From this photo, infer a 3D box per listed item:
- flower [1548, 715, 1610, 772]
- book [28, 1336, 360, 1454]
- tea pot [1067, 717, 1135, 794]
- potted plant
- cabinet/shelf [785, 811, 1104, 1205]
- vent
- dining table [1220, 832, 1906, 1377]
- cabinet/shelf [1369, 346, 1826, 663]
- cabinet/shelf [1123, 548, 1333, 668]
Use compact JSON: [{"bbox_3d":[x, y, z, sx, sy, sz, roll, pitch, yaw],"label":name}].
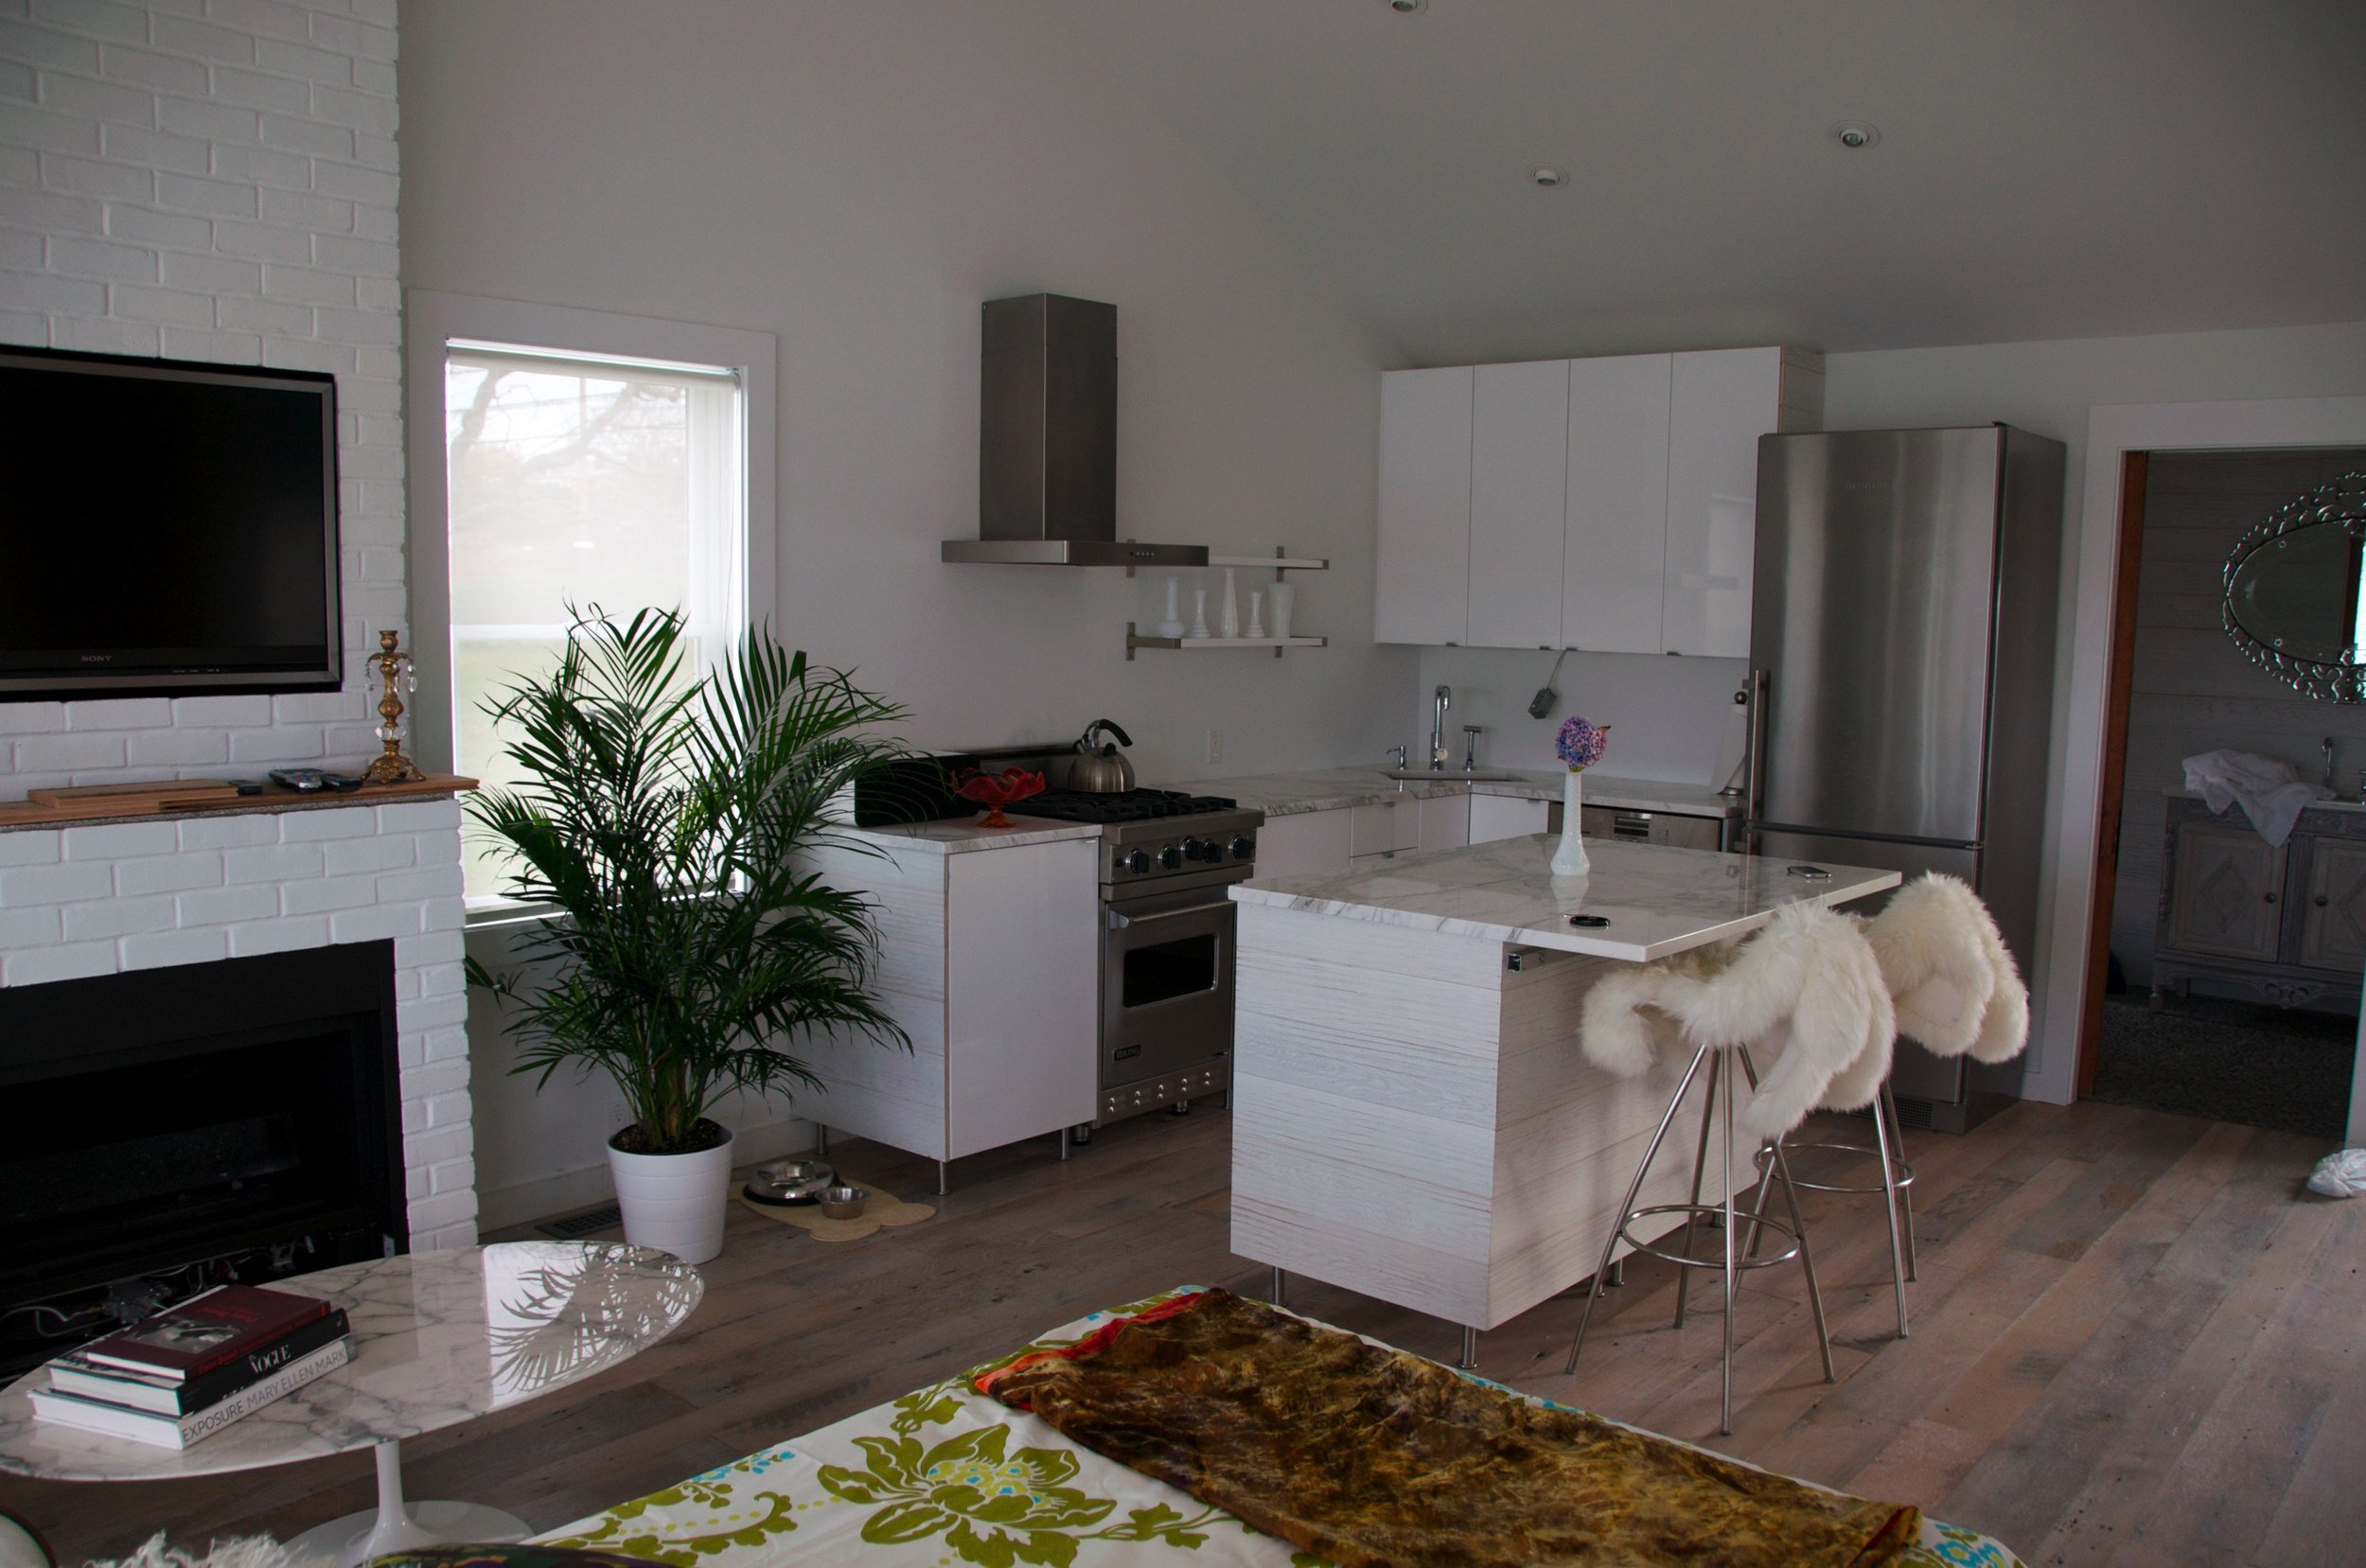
[{"bbox_3d":[1.506,-0.164,5.777,0.226,0.255,0.139,4,-24,36],"label":"flower"},{"bbox_3d":[-1.959,1.202,3.007,0.263,0.053,0.267,1,3,27],"label":"book"},{"bbox_3d":[-0.329,-0.103,6.340,0.223,0.283,0.340,0,0,35],"label":"tea pot"},{"bbox_3d":[-1.653,0.447,5.128,1.112,2.032,1.154,7,13,26],"label":"potted plant"},{"bbox_3d":[-0.738,0.716,5.962,1.159,1.700,1.289,5,6,44],"label":"cabinet/shelf"},{"bbox_3d":[-0.665,-1.431,6.110,0.835,0.911,1.061,13,18,42],"label":"vent"},{"bbox_3d":[1.133,0.883,4.653,2.124,1.364,1.381,-7,10,-44],"label":"dining table"},{"bbox_3d":[1.938,-1.285,6.914,1.617,1.089,0.479,5,7,38],"label":"cabinet/shelf"},{"bbox_3d":[0.258,-0.810,6.979,0.355,0.513,1.182,11,15,40],"label":"cabinet/shelf"}]
